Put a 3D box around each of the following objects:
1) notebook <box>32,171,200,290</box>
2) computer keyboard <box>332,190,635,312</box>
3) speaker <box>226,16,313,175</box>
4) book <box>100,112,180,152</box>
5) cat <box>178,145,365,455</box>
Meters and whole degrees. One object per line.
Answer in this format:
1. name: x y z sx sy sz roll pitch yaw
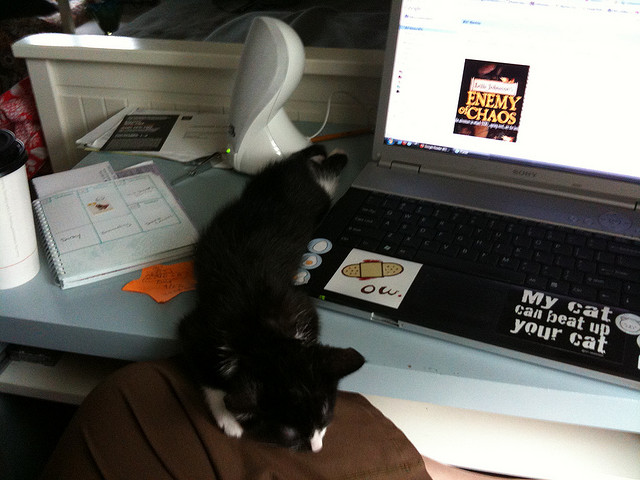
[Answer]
1. notebook: -0.338 -0.020 0.819 0.214 0.038 0.238 -19 45 -26
2. computer keyboard: 0.243 0.001 0.750 0.426 0.044 0.142 16 41 13
3. speaker: -0.095 -0.269 0.962 0.165 0.255 0.202 -2 42 -11
4. book: -0.388 -0.238 1.084 0.127 0.013 0.175 4 40 -1
5. cat: -0.084 0.080 0.776 0.276 0.140 0.404 -16 55 -4
